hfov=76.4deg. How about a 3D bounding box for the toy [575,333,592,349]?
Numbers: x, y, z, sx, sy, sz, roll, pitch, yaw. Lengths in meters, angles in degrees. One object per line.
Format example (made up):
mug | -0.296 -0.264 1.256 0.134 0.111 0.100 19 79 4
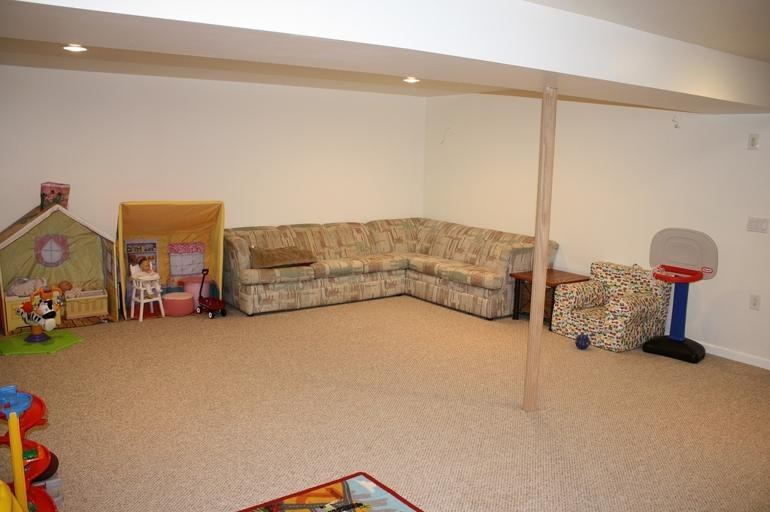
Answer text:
toy | 2.376 1.009 5.852 0.247 0.162 0.127 -6 7 -44

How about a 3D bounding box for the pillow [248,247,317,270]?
pillow | -1.415 0.018 6.805 0.597 0.159 0.411 7 14 -28

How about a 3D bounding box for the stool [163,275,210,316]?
stool | -2.738 0.544 6.808 0.400 0.418 0.656 4 3 31

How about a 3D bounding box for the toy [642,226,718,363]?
toy | 3.435 0.430 5.701 0.712 1.512 0.640 2 6 35

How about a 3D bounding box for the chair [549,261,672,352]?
chair | 2.778 0.605 6.137 1.138 0.970 1.143 -6 13 -36

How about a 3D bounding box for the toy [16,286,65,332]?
toy | -4.024 0.607 5.707 0.692 0.498 0.427 9 5 44
